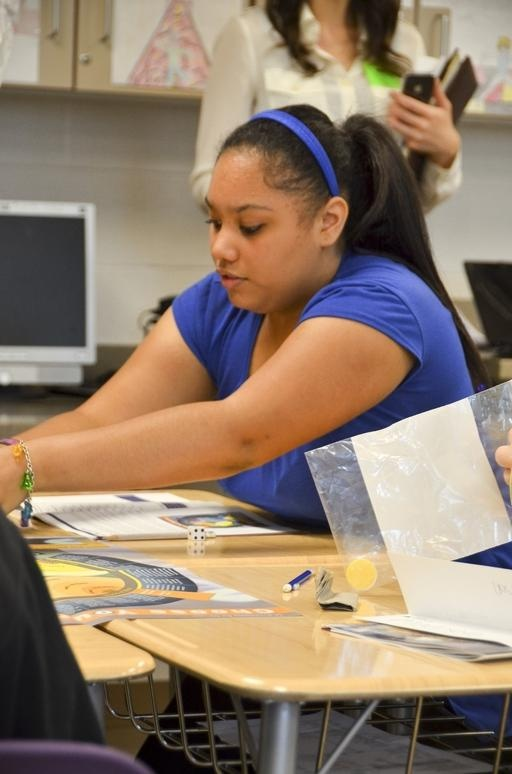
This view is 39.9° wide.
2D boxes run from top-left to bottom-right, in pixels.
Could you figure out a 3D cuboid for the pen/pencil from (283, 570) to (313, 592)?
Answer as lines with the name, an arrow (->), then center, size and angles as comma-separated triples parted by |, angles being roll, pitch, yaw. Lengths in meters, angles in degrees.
pen/pencil -> 0.037, 0.177, 0.649 | 0.009, 0.008, 0.045 | 5, 11, 21
